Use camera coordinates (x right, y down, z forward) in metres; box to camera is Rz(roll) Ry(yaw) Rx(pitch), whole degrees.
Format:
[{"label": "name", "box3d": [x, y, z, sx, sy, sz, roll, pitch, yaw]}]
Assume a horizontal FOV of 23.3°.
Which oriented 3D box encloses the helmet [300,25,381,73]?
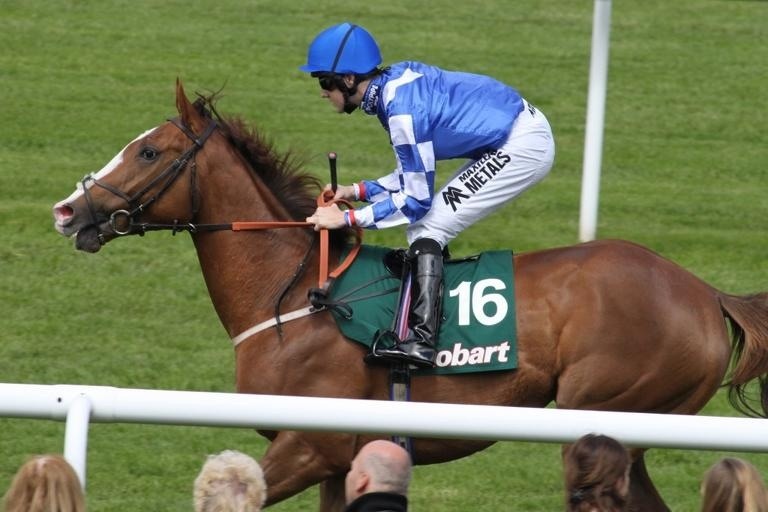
[{"label": "helmet", "box3d": [-0.258, -1.366, 12.237, 0.475, 0.319, 0.231, 3, 95, -5]}]
